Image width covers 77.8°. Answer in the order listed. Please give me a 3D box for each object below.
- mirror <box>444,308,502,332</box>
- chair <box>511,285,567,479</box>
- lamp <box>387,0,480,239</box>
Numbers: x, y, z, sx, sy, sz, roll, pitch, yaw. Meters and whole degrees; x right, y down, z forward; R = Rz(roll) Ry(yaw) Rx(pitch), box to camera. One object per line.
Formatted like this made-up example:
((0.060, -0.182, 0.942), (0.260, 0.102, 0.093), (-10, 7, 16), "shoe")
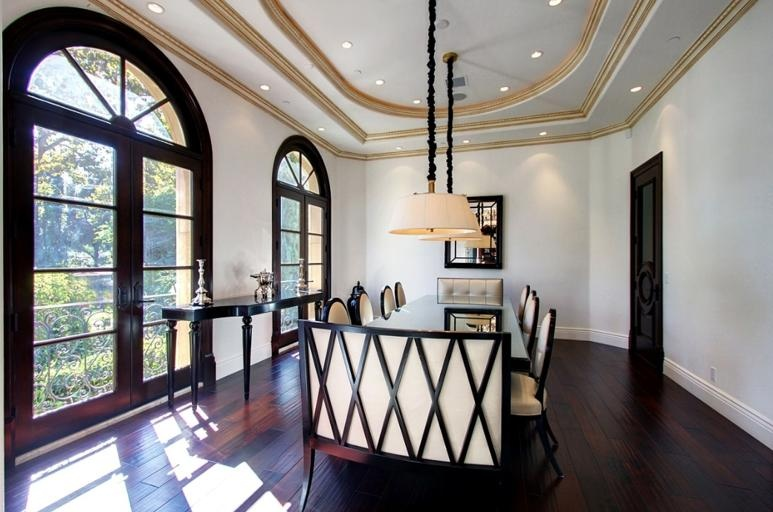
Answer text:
((0.863, 0.640, 4.841), (0.532, 0.040, 0.557), (0, 9, 14), "mirror")
((1.347, 1.161, 4.322), (0.426, 1.424, 0.704), (0, 0, 16), "chair")
((0.520, -1.411, 4.768), (0.810, 2.446, 1.313), (0, 0, 17), "lamp")
